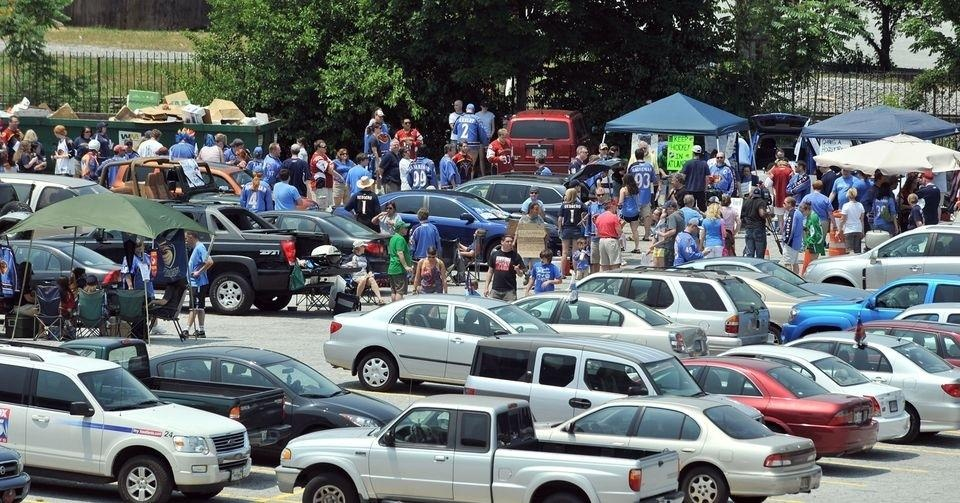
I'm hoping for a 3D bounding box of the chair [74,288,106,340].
[{"bbox_3d":[-12.723,1.988,60.276,1.034,1.509,0.524,2,3,16],"label":"chair"}]

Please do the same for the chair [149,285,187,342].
[{"bbox_3d":[-10.422,1.838,61.751,1.133,1.819,1.401,1,3,-5],"label":"chair"}]

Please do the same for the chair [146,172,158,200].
[{"bbox_3d":[-11.779,-2.424,66.401,0.498,0.969,0.417,1,3,-9],"label":"chair"}]

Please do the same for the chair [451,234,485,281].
[{"bbox_3d":[-0.407,0.197,66.241,1.549,2.150,1.399,1,0,1],"label":"chair"}]

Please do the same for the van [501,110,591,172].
[{"bbox_3d":[1.296,-4.292,72.846,2.365,2.669,6.027,1,0,-8],"label":"van"}]

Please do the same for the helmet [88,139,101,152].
[{"bbox_3d":[-14.743,-4.084,70.383,0.389,0.381,0.466,6,19,2],"label":"helmet"}]

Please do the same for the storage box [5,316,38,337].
[{"bbox_3d":[-15.024,2.439,60.448,0.798,0.582,0.806,1,1,32],"label":"storage box"}]

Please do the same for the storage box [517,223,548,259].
[{"bbox_3d":[1.872,-0.386,64.957,1.186,1.506,0.808,3,-26,-7],"label":"storage box"}]

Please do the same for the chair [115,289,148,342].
[{"bbox_3d":[-11.478,2.110,60.683,1.008,1.765,1.154,2,-5,-4],"label":"chair"}]
